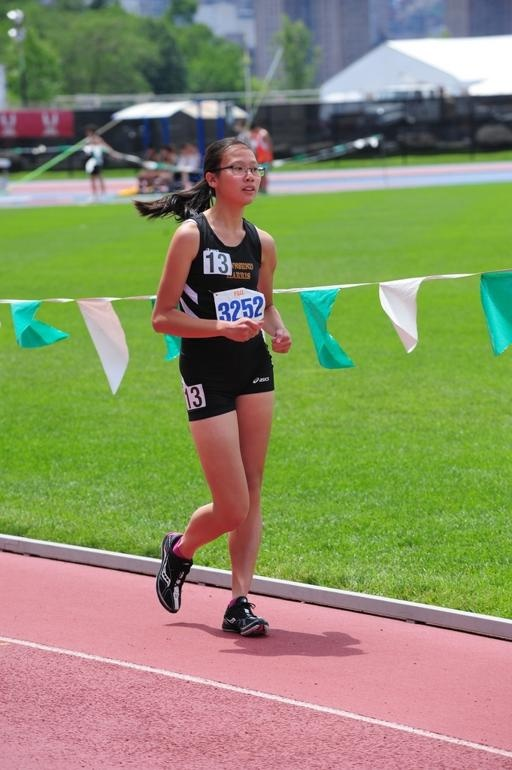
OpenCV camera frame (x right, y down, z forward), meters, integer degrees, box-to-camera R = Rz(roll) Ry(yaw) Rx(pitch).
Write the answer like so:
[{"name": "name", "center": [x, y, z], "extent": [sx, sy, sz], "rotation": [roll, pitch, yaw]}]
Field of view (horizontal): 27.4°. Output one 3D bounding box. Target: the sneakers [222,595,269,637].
[{"name": "sneakers", "center": [-0.046, 0.831, 3.721], "extent": [0.085, 0.110, 0.220], "rotation": [9, -6, -41]}]

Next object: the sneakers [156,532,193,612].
[{"name": "sneakers", "center": [-0.318, 0.686, 3.812], "extent": [0.147, 0.295, 0.109], "rotation": [-18, -16, 39]}]

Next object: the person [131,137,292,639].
[{"name": "person", "center": [-0.134, 0.016, 3.773], "extent": [0.516, 1.741, 0.622], "rotation": [-2, 15, 1]}]
